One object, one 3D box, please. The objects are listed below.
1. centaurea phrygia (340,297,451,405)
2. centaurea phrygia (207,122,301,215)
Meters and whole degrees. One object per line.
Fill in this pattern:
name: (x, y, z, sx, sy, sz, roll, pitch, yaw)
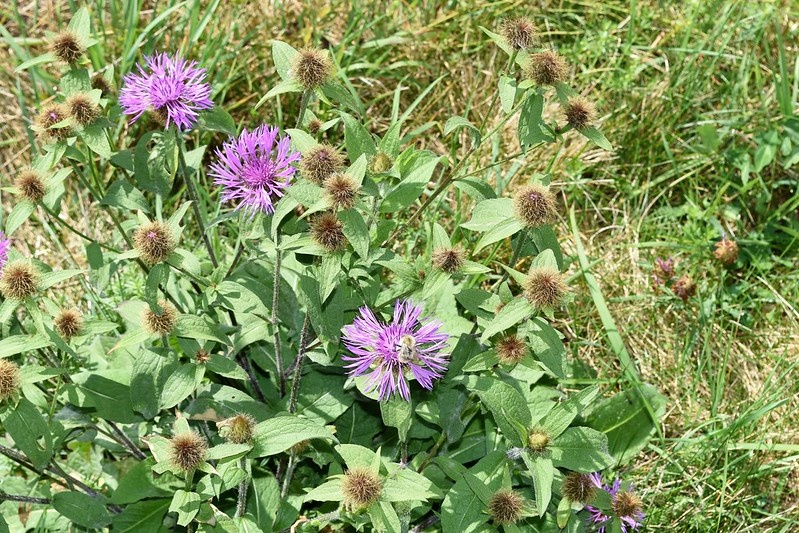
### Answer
centaurea phrygia: (0.005, 0.373, 4.183, 0.602, 0.297, 0.601, 13, 0, 23)
centaurea phrygia: (-0.892, -0.582, 4.450, 0.529, 0.664, 0.491, 13, 43, 1)
